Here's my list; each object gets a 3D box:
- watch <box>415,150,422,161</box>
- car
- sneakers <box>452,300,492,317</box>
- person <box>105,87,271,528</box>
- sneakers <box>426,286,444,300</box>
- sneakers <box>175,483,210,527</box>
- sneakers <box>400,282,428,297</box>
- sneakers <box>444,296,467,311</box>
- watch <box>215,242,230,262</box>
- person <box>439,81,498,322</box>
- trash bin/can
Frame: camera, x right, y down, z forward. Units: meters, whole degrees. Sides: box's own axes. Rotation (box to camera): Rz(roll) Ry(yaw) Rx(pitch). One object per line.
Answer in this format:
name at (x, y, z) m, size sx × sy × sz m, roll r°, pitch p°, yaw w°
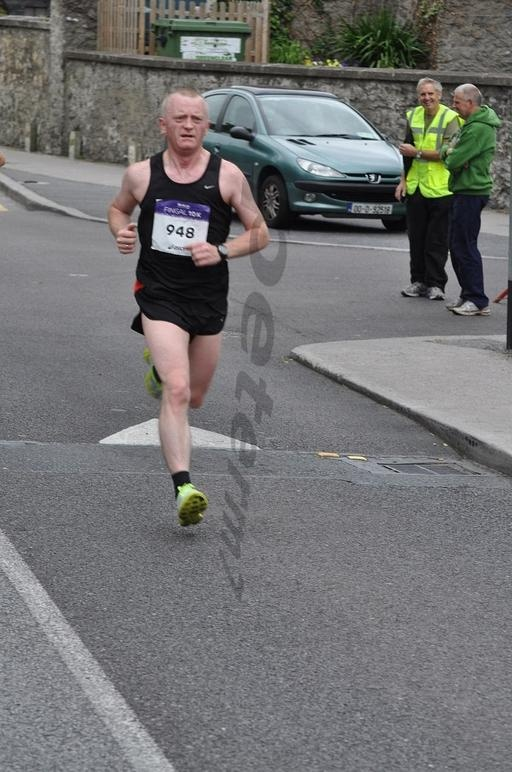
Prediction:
watch at (1.893, -2.668, 9.714) m, size 0.075 × 0.094 × 0.108 m, roll 0°, pitch -14°, yaw -1°
car at (0.474, -4.308, 16.123) m, size 2.919 × 2.220 × 5.139 m, roll -4°, pitch 15°, yaw -27°
sneakers at (2.352, -0.850, 9.224) m, size 0.427 × 0.179 × 0.159 m, roll 5°, pitch 2°, yaw -7°
person at (-0.256, -0.465, 3.755) m, size 0.610 × 1.668 × 0.742 m, roll 1°, pitch 6°, yaw -30°
sneakers at (2.140, -1.100, 9.962) m, size 0.115 × 0.085 × 0.219 m, roll -4°, pitch 5°, yaw -14°
sneakers at (-0.263, 0.470, 3.390) m, size 0.090 × 0.103 × 0.230 m, roll -12°, pitch -23°, yaw -15°
sneakers at (1.905, -1.155, 10.106) m, size 0.339 × 0.140 × 0.137 m, roll -1°, pitch 7°, yaw -19°
sneakers at (2.195, -0.922, 9.355) m, size 0.276 × 0.105 × 0.095 m, roll -18°, pitch 8°, yaw -13°
watch at (-0.135, -0.585, 3.668) m, size 0.055 × 0.068 × 0.076 m, roll -4°, pitch 51°, yaw -27°
person at (2.281, -1.980, 9.056) m, size 0.386 × 2.430 × 0.656 m, roll 10°, pitch 7°, yaw 44°
trash bin/can at (-1.537, -9.640, 23.796) m, size 2.628 × 1.171 × 1.768 m, roll -2°, pitch 16°, yaw -14°
